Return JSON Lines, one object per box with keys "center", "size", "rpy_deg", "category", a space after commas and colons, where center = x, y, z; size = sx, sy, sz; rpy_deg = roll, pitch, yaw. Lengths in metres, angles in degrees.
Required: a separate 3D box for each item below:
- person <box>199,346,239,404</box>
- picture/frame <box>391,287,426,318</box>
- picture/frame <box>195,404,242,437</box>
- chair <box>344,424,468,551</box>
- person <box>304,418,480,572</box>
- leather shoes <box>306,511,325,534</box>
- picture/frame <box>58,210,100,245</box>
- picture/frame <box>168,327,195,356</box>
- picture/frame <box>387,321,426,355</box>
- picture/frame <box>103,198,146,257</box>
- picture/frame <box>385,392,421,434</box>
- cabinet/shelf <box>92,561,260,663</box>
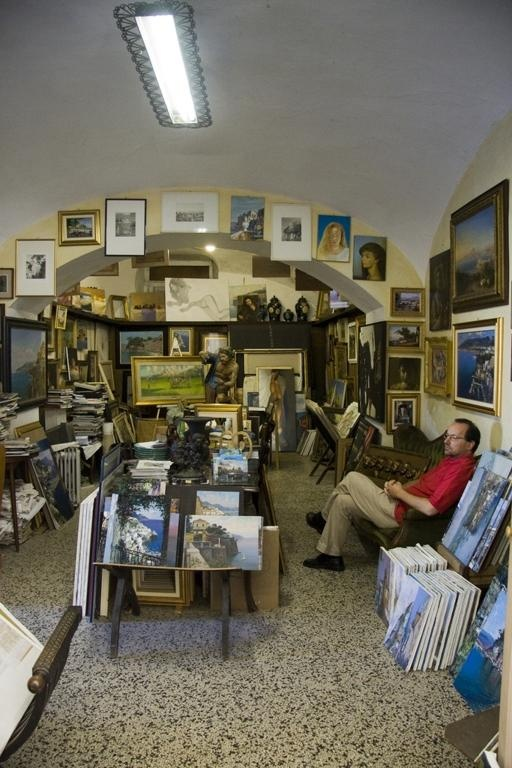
{"center": [-0.443, -0.057, 5.969], "size": [0.412, 0.766, 0.376], "rpy_deg": [6, 12, -5], "category": "person"}
{"center": [1.608, -0.855, 5.476], "size": [0.305, 0.283, 0.032], "rpy_deg": [1, 1, -1], "category": "picture/frame"}
{"center": [-0.257, 0.294, 4.474], "size": [0.400, 0.190, 0.709], "rpy_deg": [-1, 1, -21], "category": "picture/frame"}
{"center": [1.088, 0.664, 3.677], "size": [0.745, 0.870, 0.645], "rpy_deg": [11, 35, 11], "category": "chair"}
{"center": [0.986, 0.840, 4.088], "size": [1.142, 1.403, 0.671], "rpy_deg": [14, 13, 15], "category": "person"}
{"center": [0.534, 1.227, 4.723], "size": [0.122, 0.116, 0.270], "rpy_deg": [0, 22, -7], "category": "leather shoes"}
{"center": [-1.751, -1.545, 5.134], "size": [0.321, 0.289, 0.025], "rpy_deg": [0, 6, -3], "category": "picture/frame"}
{"center": [-1.621, -0.943, 11.253], "size": [0.553, 0.497, 0.299], "rpy_deg": [-1, 1, -10], "category": "picture/frame"}
{"center": [1.579, -0.490, 5.466], "size": [0.330, 0.297, 0.027], "rpy_deg": [1, 0, 3], "category": "picture/frame"}
{"center": [-1.291, -1.548, 5.137], "size": [0.544, 0.743, 0.030], "rpy_deg": [1, 5, 4], "category": "picture/frame"}
{"center": [1.537, 0.287, 5.432], "size": [0.405, 0.538, 0.054], "rpy_deg": [0, 5, -1], "category": "picture/frame"}
{"center": [-0.573, 1.294, 3.147], "size": [0.609, 0.400, 0.627], "rpy_deg": [0, -9, -2], "category": "cabinet/shelf"}
